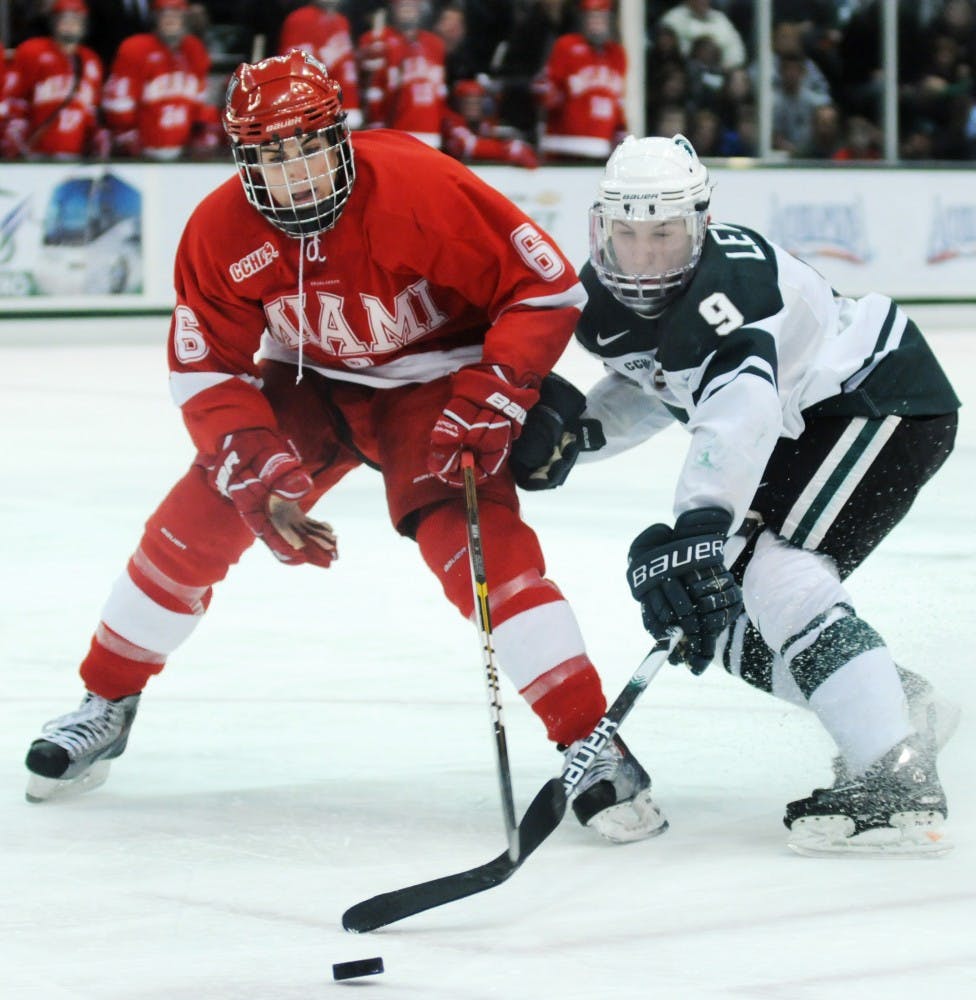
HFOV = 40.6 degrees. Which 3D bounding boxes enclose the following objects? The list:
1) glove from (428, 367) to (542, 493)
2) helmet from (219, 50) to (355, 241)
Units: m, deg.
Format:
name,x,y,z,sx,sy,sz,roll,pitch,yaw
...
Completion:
name,x,y,z,sx,sy,sz,roll,pitch,yaw
glove,-0.032,-0.107,2.003,0.172,0.083,0.187,32,59,-1
helmet,-0.300,-0.523,1.970,0.158,0.261,0.148,-7,15,-22
